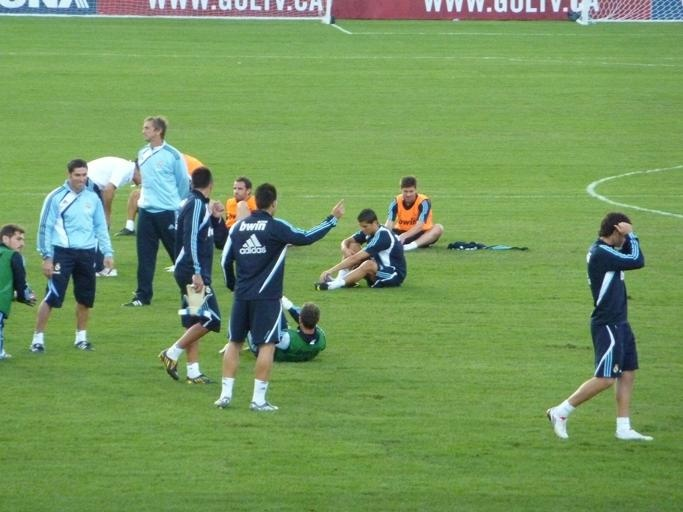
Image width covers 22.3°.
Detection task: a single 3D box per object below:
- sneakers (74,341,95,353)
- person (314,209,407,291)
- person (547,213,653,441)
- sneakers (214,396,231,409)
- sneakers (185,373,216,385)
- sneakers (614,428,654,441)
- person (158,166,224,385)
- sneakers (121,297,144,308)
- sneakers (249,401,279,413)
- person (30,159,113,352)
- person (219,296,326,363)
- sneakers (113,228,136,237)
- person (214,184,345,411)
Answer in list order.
[{"bbox_3d":[-4.559,1.613,30.477,0.306,0.104,0.158,2,9,27],"label":"sneakers"},{"bbox_3d":[0.298,-0.081,33.680,2.085,1.334,1.108,-8,14,-14],"label":"person"},{"bbox_3d":[4.331,1.178,28.256,1.246,3.659,1.374,7,14,30],"label":"person"},{"bbox_3d":[-1.985,2.473,28.793,0.343,0.109,0.153,3,0,37],"label":"sneakers"},{"bbox_3d":[-2.449,2.155,29.625,0.542,0.182,0.162,2,-2,-4],"label":"sneakers"},{"bbox_3d":[4.758,2.955,28.351,0.677,0.212,0.203,-4,0,8],"label":"sneakers"},{"bbox_3d":[-2.617,0.355,29.484,0.958,3.662,0.893,-1,12,-5],"label":"person"},{"bbox_3d":[-3.980,0.906,32.370,0.477,0.147,0.145,2,2,6],"label":"sneakers"},{"bbox_3d":[-1.328,2.547,28.749,0.543,0.172,0.174,1,2,-8],"label":"sneakers"},{"bbox_3d":[-4.802,0.002,30.430,1.395,3.335,0.870,-2,12,-6],"label":"person"},{"bbox_3d":[-1.248,1.293,30.594,0.986,1.022,1.933,-4,10,-42],"label":"person"},{"bbox_3d":[-4.640,-0.470,36.660,0.414,0.131,0.125,4,8,-16],"label":"sneakers"},{"bbox_3d":[-1.290,0.716,28.743,1.721,3.748,0.804,-1,12,-2],"label":"person"}]
